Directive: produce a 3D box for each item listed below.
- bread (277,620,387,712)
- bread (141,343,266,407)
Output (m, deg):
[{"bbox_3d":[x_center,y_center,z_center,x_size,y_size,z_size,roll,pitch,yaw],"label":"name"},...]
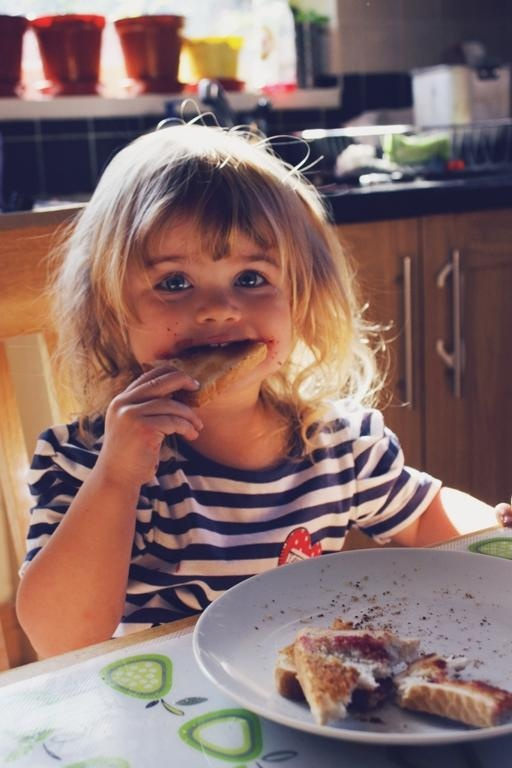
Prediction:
[{"bbox_3d":[0.050,0.156,0.415,0.040,0.014,0.048,-6,10,-4],"label":"bread"},{"bbox_3d":[-0.039,-0.012,0.781,0.115,0.055,0.107,-5,7,-9],"label":"bread"}]
